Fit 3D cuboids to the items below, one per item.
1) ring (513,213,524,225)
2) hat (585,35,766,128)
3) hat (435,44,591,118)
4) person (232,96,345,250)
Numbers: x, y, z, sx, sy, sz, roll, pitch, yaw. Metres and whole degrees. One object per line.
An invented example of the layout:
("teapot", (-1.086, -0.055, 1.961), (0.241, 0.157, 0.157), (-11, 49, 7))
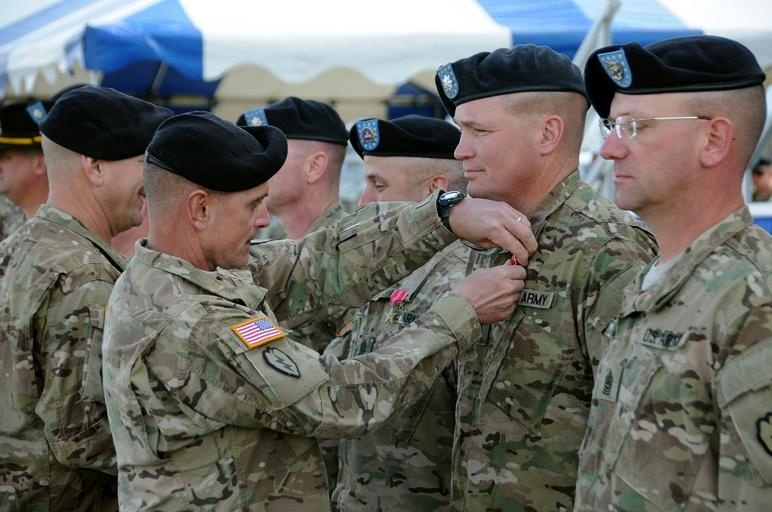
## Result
("ring", (0.678, -0.185, 4.684), (0.044, 0.047, 0.012), (12, -14, 9))
("hat", (1.351, -0.842, 4.181), (0.552, 0.188, 0.446), (-4, -4, -12))
("hat", (0.677, -0.954, 5.047), (0.825, 0.298, 0.606), (-1, -8, -7))
("person", (-0.673, -0.628, 6.713), (0.867, 1.244, 0.882), (3, 4, 12))
